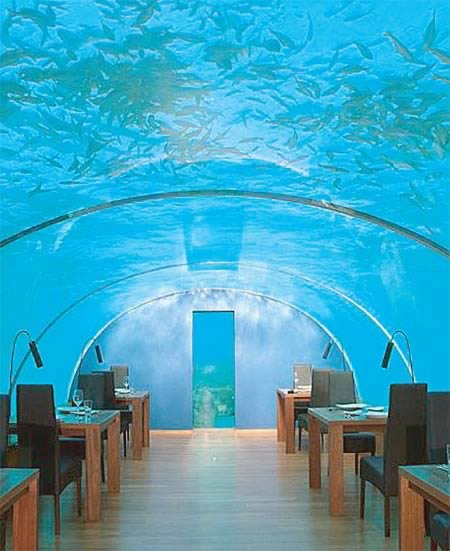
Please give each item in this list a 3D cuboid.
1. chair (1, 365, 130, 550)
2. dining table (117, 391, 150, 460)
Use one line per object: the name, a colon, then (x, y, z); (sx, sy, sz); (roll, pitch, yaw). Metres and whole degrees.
chair: (-1.381, 1.525, 4.676); (0.670, 1.140, 1.329); (0, -8, -2)
dining table: (-1.215, 2.093, 7.459); (0.755, 0.721, 0.747); (0, 2, 2)
